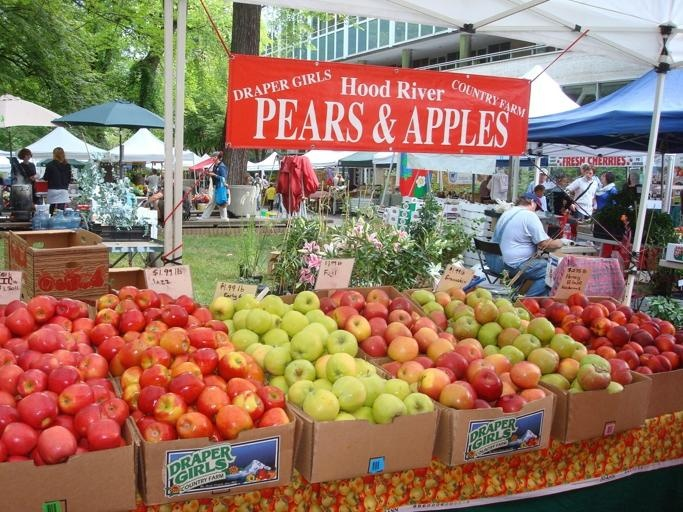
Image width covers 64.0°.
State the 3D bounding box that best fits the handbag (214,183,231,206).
[{"bbox_3d":[-3.107,-1.597,14.266,0.267,0.525,0.447,14,22,30],"label":"handbag"}]

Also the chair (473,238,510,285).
[{"bbox_3d":[1.800,0.080,6.531,0.444,0.668,0.364,-16,20,-34],"label":"chair"}]

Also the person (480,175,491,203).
[{"bbox_3d":[4.155,-1.853,15.765,0.245,0.632,1.053,5,9,16],"label":"person"}]

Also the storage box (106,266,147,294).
[{"bbox_3d":[-1.726,0.198,4.371,0.198,0.143,0.104,-5,10,-28],"label":"storage box"}]

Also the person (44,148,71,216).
[{"bbox_3d":[-5.372,-1.434,10.330,0.466,1.178,1.970,-2,10,-29],"label":"person"}]

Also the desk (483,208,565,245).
[{"bbox_3d":[2.258,-0.309,6.337,0.536,0.444,0.534,11,12,43],"label":"desk"}]
